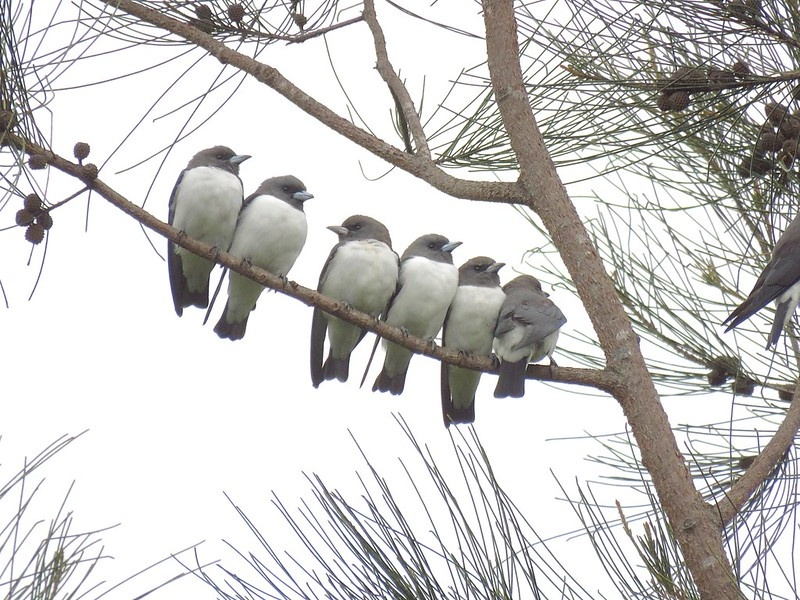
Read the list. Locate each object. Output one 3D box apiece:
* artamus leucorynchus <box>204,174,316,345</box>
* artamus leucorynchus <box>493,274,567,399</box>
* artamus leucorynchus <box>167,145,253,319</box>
[{"bbox_3d":[-0.697,-0.254,6.061,0.290,0.334,0.802,26,-67,-30],"label":"artamus leucorynchus"},{"bbox_3d":[0.605,0.128,6.360,0.370,0.751,0.500,-10,-86,21],"label":"artamus leucorynchus"},{"bbox_3d":[-0.891,-0.309,6.088,0.282,0.353,0.822,9,-59,-19],"label":"artamus leucorynchus"}]
